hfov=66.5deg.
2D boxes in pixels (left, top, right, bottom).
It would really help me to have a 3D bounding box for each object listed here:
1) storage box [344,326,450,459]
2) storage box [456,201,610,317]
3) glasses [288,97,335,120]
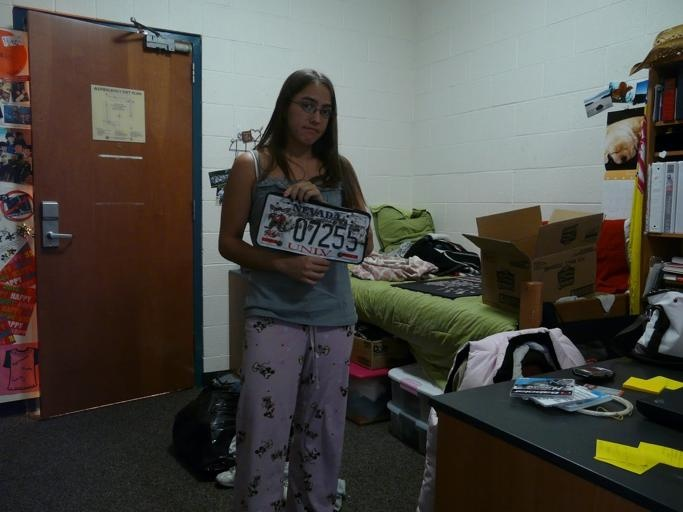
[{"bbox_3d":[0.284,0.768,3.063,0.436,0.255,0.677,-4,16,-27],"label":"storage box"},{"bbox_3d":[0.947,0.017,2.634,0.598,0.501,0.493,-8,12,-39],"label":"storage box"},{"bbox_3d":[-0.104,-0.532,1.879,0.152,0.062,0.050,-1,9,-8],"label":"glasses"}]
